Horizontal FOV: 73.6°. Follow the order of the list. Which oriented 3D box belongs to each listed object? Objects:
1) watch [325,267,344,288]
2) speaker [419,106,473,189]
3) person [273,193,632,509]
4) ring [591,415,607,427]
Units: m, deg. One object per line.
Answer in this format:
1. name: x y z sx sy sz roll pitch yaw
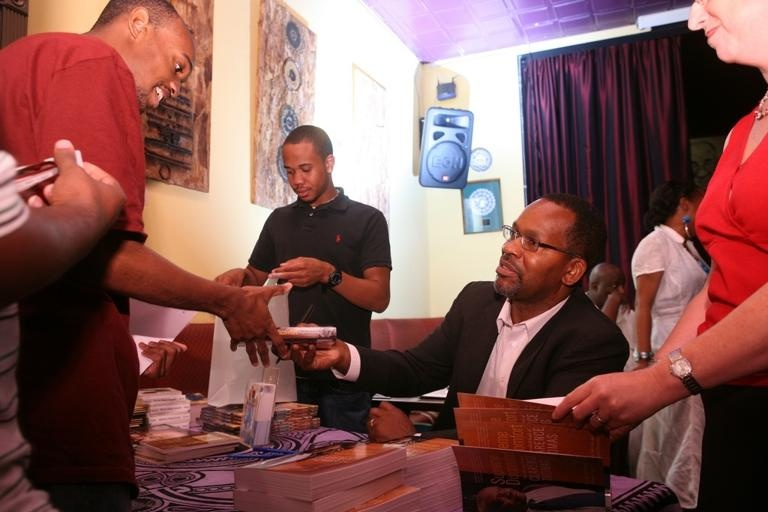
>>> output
1. watch: -0.247 0.108 2.593 0.049 0.069 0.093 -3 47 30
2. speaker: 0.662 -1.144 5.453 0.558 0.841 0.215 0 6 3
3. person: 0.303 0.283 2.594 1.111 1.834 0.946 22 -10 -20
4. ring: 0.525 0.399 1.243 0.029 0.011 0.029 2 -3 0
